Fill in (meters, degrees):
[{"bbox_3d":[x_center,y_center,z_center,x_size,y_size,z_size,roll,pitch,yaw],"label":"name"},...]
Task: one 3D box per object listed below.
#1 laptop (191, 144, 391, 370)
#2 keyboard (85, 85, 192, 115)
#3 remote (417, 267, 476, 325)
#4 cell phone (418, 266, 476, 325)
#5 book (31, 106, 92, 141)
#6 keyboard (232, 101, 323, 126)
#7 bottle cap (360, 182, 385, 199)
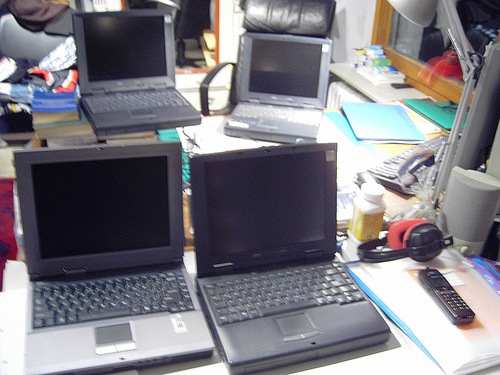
[{"bbox_3d":[0.089,0.260,1.234,0.615,0.504,0.522,-9,42,-18],"label":"laptop"},{"bbox_3d":[-0.558,-0.430,1.993,0.487,0.068,0.243,-14,35,-17],"label":"keyboard"},{"bbox_3d":[0.553,0.302,1.133,0.066,0.036,0.155,-16,51,-18],"label":"remote"},{"bbox_3d":[0.552,0.298,1.128,0.064,0.036,0.152,-12,44,-18],"label":"cell phone"},{"bbox_3d":[-0.792,-0.240,1.714,0.220,0.074,0.103,-28,41,-34],"label":"book"},{"bbox_3d":[0.144,-0.379,2.043,0.440,0.051,0.173,4,34,9],"label":"keyboard"},{"bbox_3d":[0.383,0.010,1.244,0.066,0.038,0.065,13,36,22],"label":"bottle cap"}]
